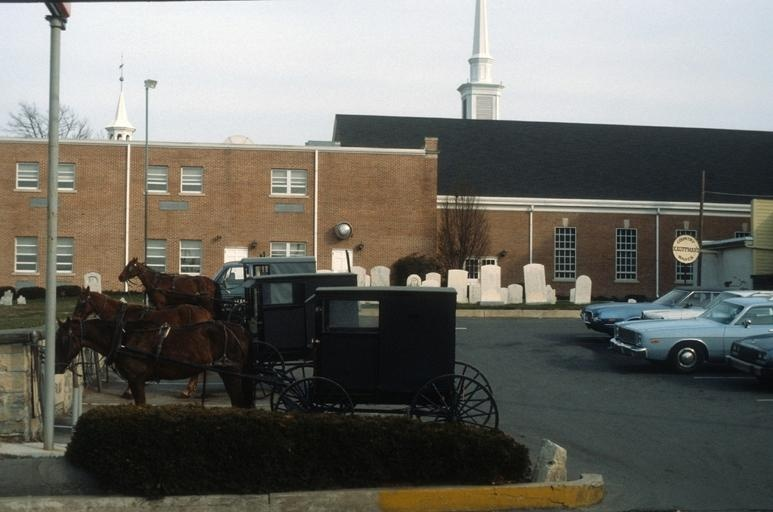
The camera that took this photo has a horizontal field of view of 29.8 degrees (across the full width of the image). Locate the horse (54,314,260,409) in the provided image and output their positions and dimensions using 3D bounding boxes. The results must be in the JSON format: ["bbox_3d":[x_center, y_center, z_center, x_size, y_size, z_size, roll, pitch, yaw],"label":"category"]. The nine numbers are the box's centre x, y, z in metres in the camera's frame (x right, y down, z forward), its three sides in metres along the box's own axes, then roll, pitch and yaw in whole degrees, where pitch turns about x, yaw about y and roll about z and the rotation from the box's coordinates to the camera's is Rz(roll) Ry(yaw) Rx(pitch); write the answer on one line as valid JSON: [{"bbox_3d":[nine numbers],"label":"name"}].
[{"bbox_3d":[-7.219,3.695,46.325,6.486,3.520,1.467,-1,0,-9],"label":"horse"}]
